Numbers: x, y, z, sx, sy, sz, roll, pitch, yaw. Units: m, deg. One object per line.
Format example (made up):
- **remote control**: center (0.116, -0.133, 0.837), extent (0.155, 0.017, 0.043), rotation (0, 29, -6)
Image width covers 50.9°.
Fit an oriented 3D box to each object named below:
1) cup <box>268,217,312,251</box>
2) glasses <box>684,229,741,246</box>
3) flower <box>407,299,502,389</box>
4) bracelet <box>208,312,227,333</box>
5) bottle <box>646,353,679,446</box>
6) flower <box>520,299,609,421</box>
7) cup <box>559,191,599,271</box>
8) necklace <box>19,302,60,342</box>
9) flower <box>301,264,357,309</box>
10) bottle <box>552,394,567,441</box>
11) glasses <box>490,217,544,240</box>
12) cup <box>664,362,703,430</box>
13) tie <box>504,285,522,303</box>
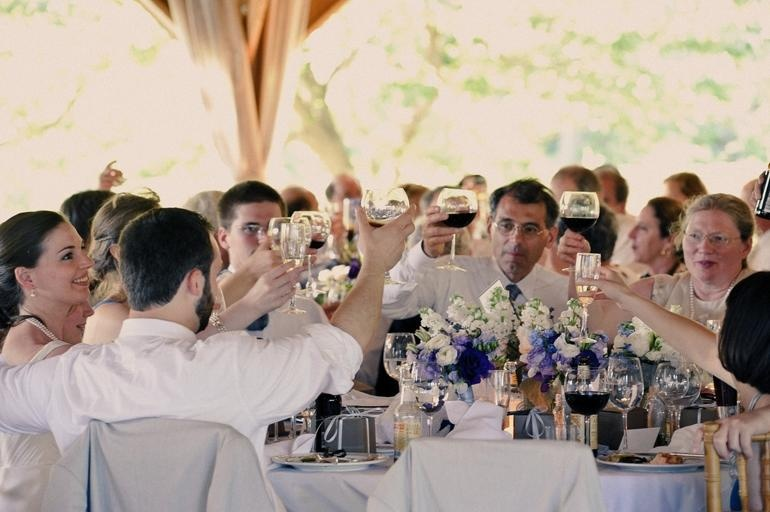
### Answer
- **cup**: center (-0.365, -0.078, 3.058), extent (0.129, 0.100, 0.136), rotation (1, -5, 0)
- **glasses**: center (1.665, -0.088, 4.154), extent (0.228, 0.090, 0.052), rotation (-4, -10, 26)
- **flower**: center (0.292, 0.336, 3.213), extent (0.349, 0.318, 0.330), rotation (1, -4, 12)
- **bracelet**: center (-0.618, 0.245, 2.963), extent (0.045, 0.074, 0.056), rotation (-30, 23, -13)
- **bottle**: center (1.161, 0.597, 3.291), extent (0.103, 0.316, 0.098), rotation (-4, 8, 1)
- **flower**: center (0.643, 0.436, 3.198), extent (0.318, 0.359, 0.284), rotation (11, -4, 36)
- **cup**: center (0.845, -0.150, 3.533), extent (0.179, 0.250, 0.183), rotation (2, 5, 0)
- **necklace**: center (-1.390, 0.274, 3.240), extent (0.180, 0.037, 0.138), rotation (32, -6, 7)
- **flower**: center (-0.409, 0.209, 5.857), extent (0.337, 0.163, 0.362), rotation (4, 3, 29)
- **bottle**: center (0.676, 0.596, 3.115), extent (0.070, 0.243, 0.061), rotation (-1, 4, 12)
- **glasses**: center (0.734, -0.151, 4.435), extent (0.242, 0.101, 0.072), rotation (-1, -9, 10)
- **cup**: center (1.128, 0.579, 3.164), extent (0.149, 0.305, 0.145), rotation (5, -5, 0)
- **tie**: center (0.720, 0.204, 4.523), extent (0.110, 0.130, 0.040), rotation (0, -6, -13)
